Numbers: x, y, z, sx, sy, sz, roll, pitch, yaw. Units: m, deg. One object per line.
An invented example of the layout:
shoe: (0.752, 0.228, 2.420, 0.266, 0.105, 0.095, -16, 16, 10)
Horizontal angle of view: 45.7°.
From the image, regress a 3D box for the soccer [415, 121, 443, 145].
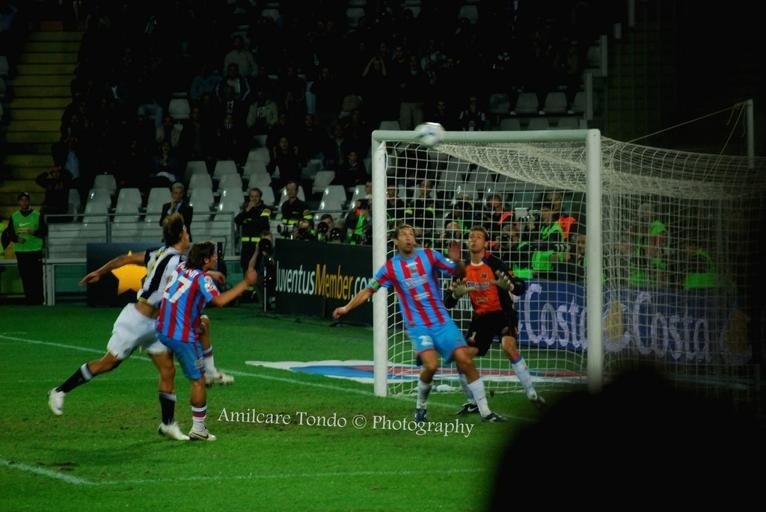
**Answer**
soccer: (0.666, -1.713, 12.880, 0.418, 0.319, 0.421, 0, 8, 1)

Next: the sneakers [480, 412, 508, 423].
sneakers: (1.491, 2.153, 12.191, 0.346, 0.141, 0.128, 1, 1, -10)

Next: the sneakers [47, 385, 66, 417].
sneakers: (-4.274, 1.909, 11.877, 0.160, 0.384, 0.166, -6, 10, -36)

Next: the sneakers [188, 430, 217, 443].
sneakers: (-2.287, 2.284, 11.533, 0.369, 0.160, 0.132, 2, 0, -11)

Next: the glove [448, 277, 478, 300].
glove: (1.145, 0.465, 12.476, 0.432, 0.226, 0.608, 3, 11, -15)

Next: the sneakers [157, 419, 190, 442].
sneakers: (-2.665, 2.220, 11.593, 0.491, 0.214, 0.172, 6, 6, 20)

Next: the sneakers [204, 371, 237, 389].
sneakers: (-2.463, 1.821, 13.485, 0.541, 0.252, 0.197, -3, 7, -5)

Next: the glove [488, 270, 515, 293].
glove: (1.665, 0.363, 12.700, 0.242, 0.120, 0.339, 34, -1, 21)

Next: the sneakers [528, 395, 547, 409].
sneakers: (2.219, 2.059, 12.874, 0.089, 0.178, 0.209, -27, 22, -33)

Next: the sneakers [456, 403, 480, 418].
sneakers: (1.194, 2.151, 12.724, 0.400, 0.167, 0.132, 11, -13, -37)
